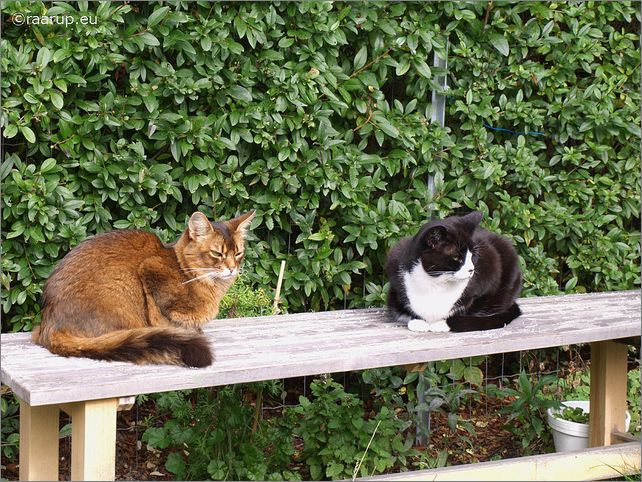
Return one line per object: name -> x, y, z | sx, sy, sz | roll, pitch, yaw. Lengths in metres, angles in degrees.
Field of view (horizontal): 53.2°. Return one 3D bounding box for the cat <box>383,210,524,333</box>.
cat -> 0.754, 0.113, 3.808 | 0.613, 0.544, 0.732 | -2, 6, -4
